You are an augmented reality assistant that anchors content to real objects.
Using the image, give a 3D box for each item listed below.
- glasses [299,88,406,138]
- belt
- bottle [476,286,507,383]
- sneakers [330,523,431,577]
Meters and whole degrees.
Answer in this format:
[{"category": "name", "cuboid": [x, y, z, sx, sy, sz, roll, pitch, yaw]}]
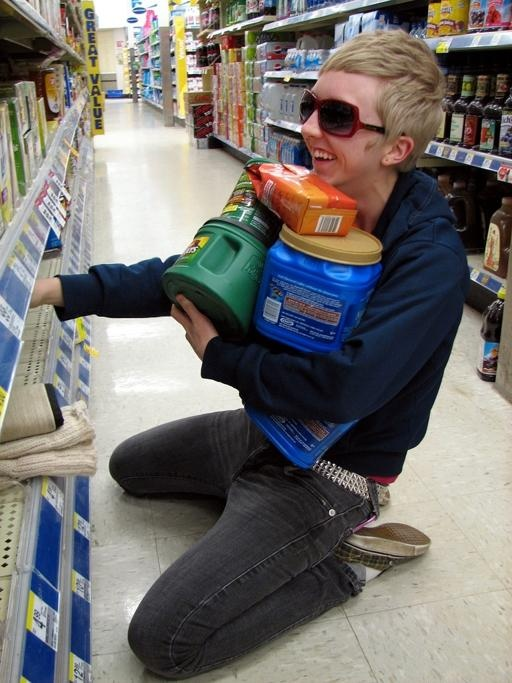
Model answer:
[{"category": "glasses", "cuboid": [0.166, -0.392, 0.873, 0.143, 0.044, 0.134, -3, 32, -37]}, {"category": "belt", "cuboid": [0.202, 0.309, 1.130, 0.175, 0.038, 0.124, 22, -1, -1]}, {"category": "bottle", "cuboid": [1.047, -0.011, 2.261, 0.087, 0.346, 0.257, 10, 23, 23]}, {"category": "sneakers", "cuboid": [0.310, 0.494, 1.278, 0.262, 0.095, 0.122, 3, -17, 27]}]
